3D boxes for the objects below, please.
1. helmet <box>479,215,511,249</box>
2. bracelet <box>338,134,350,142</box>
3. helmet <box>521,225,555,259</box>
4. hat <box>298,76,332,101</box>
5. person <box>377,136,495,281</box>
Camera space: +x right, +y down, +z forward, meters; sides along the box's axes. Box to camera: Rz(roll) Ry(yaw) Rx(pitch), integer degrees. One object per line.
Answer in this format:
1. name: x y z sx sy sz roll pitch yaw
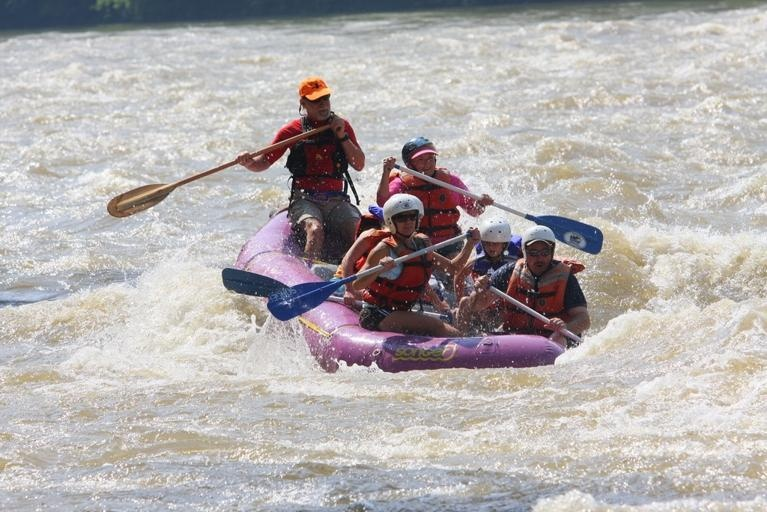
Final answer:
1. helmet: 1.530 -0.329 19.273 0.381 0.392 0.335 1 52 0
2. bracelet: -0.543 -1.710 20.222 0.118 0.105 0.174 7 20 34
3. helmet: 2.112 -0.198 18.957 0.411 0.426 0.327 1 44 2
4. hat: -1.030 -2.404 20.259 0.383 0.204 0.444 -10 1 -11
5. person: 0.715 -0.450 20.358 1.820 2.278 0.889 -4 7 -6
